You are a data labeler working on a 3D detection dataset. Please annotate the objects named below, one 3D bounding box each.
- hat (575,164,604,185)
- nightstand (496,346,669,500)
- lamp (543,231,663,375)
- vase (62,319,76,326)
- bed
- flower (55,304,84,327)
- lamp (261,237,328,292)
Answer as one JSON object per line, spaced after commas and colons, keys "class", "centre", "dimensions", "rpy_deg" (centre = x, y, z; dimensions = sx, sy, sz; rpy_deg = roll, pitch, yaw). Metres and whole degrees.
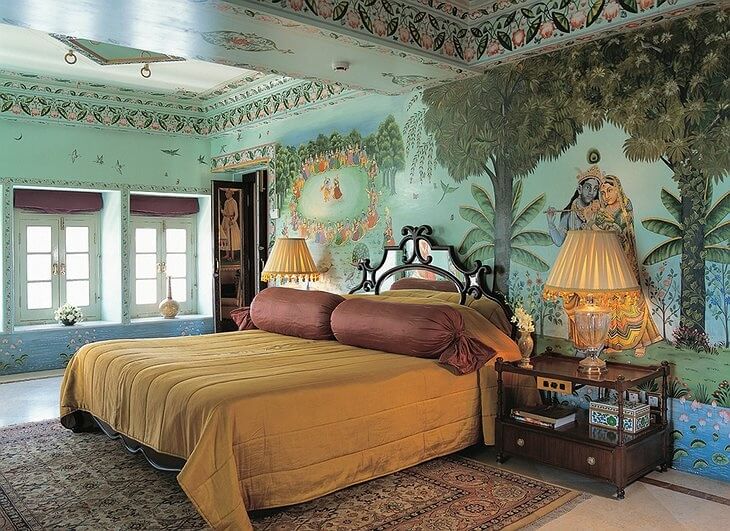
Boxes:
{"class": "hat", "centre": [1.868, -0.750, 4.444], "dimensions": [0.118, 0.110, 0.172], "rpy_deg": [0, -2, -43]}
{"class": "nightstand", "centre": [1.752, 1.168, 4.252], "dimensions": [1.242, 0.885, 0.982], "rpy_deg": [-1, -1, 44]}
{"class": "lamp", "centre": [1.756, 0.257, 4.134], "dimensions": [0.635, 1.064, 0.615], "rpy_deg": [3, 5, 30]}
{"class": "vase", "centre": [-4.183, 0.807, 7.516], "dimensions": [0.122, 0.048, 0.121], "rpy_deg": [2, 2, 37]}
{"class": "bed", "centre": [-0.432, 0.893, 4.347], "dimensions": [2.546, 1.389, 2.536], "rpy_deg": [2, -3, -36]}
{"class": "flower", "centre": [-4.161, 0.713, 7.537], "dimensions": [0.349, 0.237, 0.326], "rpy_deg": [4, 4, -26]}
{"class": "lamp", "centre": [-0.849, -0.014, 6.608], "dimensions": [0.786, 0.448, 0.709], "rpy_deg": [0, 5, 2]}
